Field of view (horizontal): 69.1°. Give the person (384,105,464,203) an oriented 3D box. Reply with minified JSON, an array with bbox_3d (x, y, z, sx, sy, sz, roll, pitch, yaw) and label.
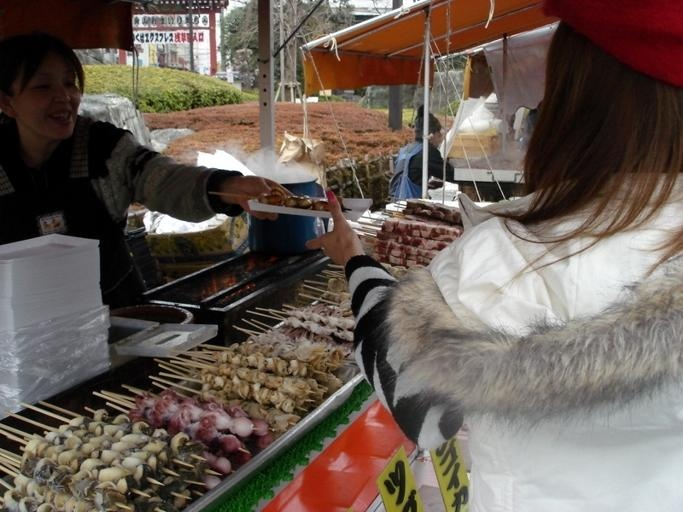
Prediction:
[{"bbox_3d":[1.155,-1.406,7.031,0.830,1.308,0.935,-4,20,-28],"label":"person"}]
